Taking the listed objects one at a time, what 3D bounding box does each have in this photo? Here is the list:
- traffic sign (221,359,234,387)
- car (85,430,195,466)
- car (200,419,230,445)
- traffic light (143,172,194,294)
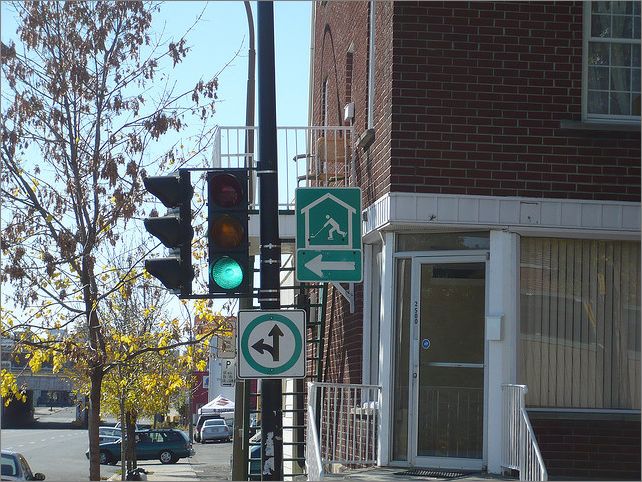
[{"bbox_3d":[-2.044,2.839,26.013,0.264,0.575,0.941,-1,-9,-7],"label":"traffic sign"},{"bbox_3d":[-6.097,7.284,42.360,3.052,1.198,1.277,-2,-8,-4],"label":"car"},{"bbox_3d":[-5.219,9.242,58.341,1.359,1.149,2.122,-1,-9,-5],"label":"car"},{"bbox_3d":[-1.937,0.005,15.455,0.753,2.225,0.428,-2,-30,-5],"label":"traffic light"}]
